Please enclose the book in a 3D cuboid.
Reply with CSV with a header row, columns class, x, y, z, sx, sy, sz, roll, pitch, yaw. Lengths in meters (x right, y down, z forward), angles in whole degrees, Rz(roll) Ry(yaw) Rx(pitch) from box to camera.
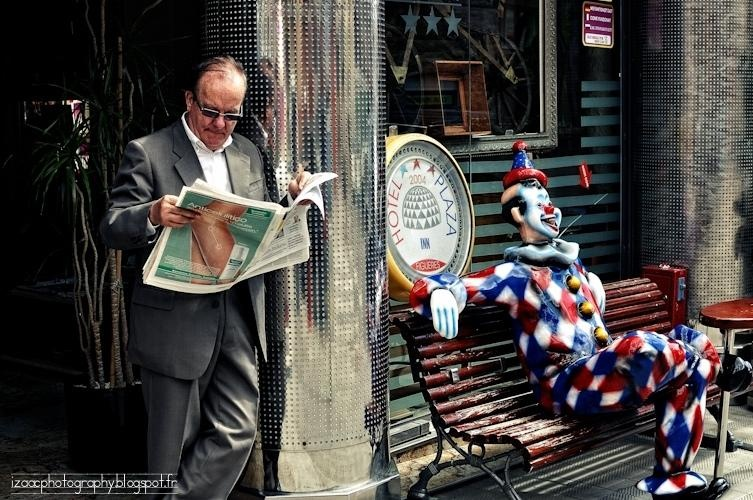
class,x,y,z,sx,sy,sz,roll,pitch,yaw
book,-0.761,-0.017,4.592,0.772,0.779,0.315,13,36,-32
